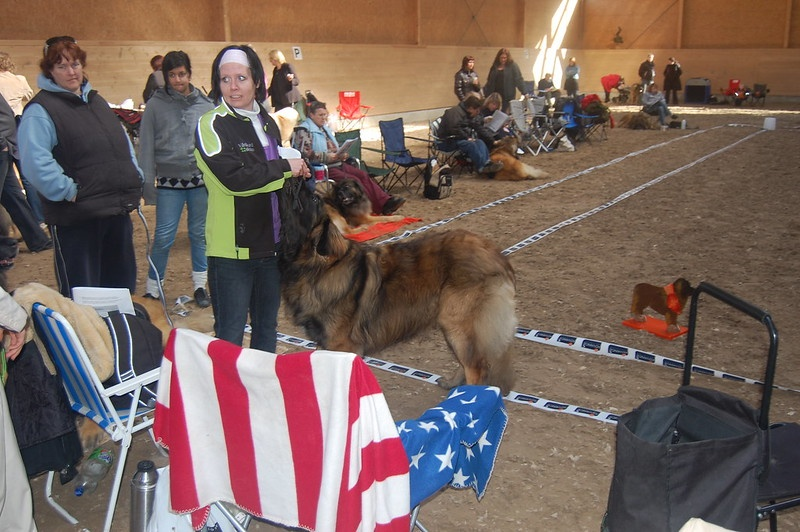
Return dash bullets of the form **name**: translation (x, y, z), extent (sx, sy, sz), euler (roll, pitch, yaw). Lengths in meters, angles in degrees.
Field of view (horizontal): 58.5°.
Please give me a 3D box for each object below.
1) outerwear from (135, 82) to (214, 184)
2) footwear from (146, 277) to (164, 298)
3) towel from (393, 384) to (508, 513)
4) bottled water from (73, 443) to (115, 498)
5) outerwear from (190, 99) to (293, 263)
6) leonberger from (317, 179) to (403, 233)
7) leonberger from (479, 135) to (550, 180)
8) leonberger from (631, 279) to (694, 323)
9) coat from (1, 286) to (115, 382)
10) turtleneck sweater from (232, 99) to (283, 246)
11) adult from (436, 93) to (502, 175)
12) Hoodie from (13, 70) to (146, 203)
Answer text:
- **outerwear**: translation (-2.224, -1.275, 7.256), extent (0.878, 1.072, 0.471), euler (-5, 13, -27)
- **footwear**: translation (-2.396, 0.214, 6.980), extent (0.204, 0.193, 0.164), euler (10, 9, 18)
- **towel**: translation (0.343, 1.140, 4.476), extent (0.658, 0.248, 0.747), euler (9, 53, 34)
- **bottled water**: translation (-2.256, 1.495, 5.252), extent (0.121, 0.210, 0.408), euler (-39, 12, 42)
- **outerwear**: translation (-1.082, -0.590, 5.021), extent (0.631, 1.071, 0.375), euler (-5, 19, -10)
- **leonberger**: translation (-0.557, -0.907, 10.782), extent (0.595, 0.834, 2.081), euler (-13, 3, 11)
- **leonberger**: translation (2.163, -1.847, 13.490), extent (0.595, 0.727, 1.475), euler (-28, 43, 1)
- **leonberger**: translation (2.559, 0.345, 6.935), extent (0.617, 0.482, 0.231), euler (14, 23, 43)
- **coat**: translation (-2.155, 0.400, 4.750), extent (0.202, 0.662, 0.638), euler (-36, 43, 6)
- **turtleneck sweater**: translation (-1.007, -0.611, 4.995), extent (0.222, 0.941, 0.516), euler (-22, 22, -16)
- **adult**: translation (1.240, -2.464, 13.415), extent (1.725, 1.725, 0.971), euler (3, 14, 9)
- **Hoodie**: translation (-2.840, -1.074, 5.981), extent (0.406, 1.005, 0.653), euler (7, 20, 24)
